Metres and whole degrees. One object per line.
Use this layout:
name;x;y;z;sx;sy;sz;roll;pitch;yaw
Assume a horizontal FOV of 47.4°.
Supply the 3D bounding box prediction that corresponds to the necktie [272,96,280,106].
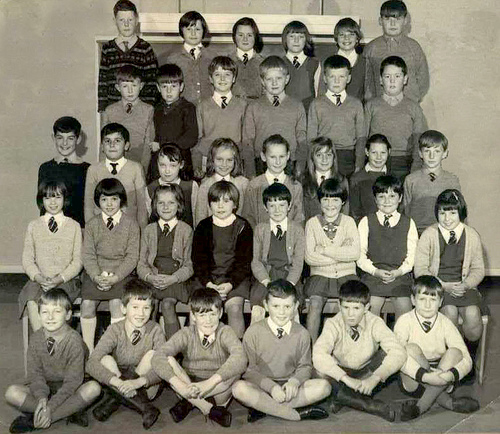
necktie;0.209;-0.952;4.701;0.057;0.087;0.026;0;-2;0

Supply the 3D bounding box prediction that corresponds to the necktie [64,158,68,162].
necktie;-1.497;-0.460;4.635;0.029;0.030;0.007;1;-8;-17

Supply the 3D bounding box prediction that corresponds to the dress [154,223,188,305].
dress;-0.559;0.319;4.004;0.225;0.489;0.339;0;7;-11

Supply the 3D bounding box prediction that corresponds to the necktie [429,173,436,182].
necktie;1.403;-0.300;4.392;0.059;0.066;0.018;-5;-4;13

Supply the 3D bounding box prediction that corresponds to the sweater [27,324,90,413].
sweater;-1.163;0.925;3.491;0.326;0.421;0.433;0;18;-4

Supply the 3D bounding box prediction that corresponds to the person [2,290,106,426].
person;-1.197;0.837;3.417;0.504;0.731;0.464;-2;7;-26

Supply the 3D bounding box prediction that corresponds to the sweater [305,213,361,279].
sweater;0.608;0.217;4.115;0.410;0.470;0.280;-4;15;26

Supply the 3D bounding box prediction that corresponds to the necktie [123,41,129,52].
necktie;-1.142;-1.551;5.198;0.054;0.073;0.016;-2;-4;-1

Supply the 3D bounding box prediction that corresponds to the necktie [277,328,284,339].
necktie;0.183;0.723;3.524;0.041;0.055;0.014;-1;-8;6

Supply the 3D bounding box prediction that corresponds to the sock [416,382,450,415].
sock;1.090;1.088;3.483;0.213;0.201;0.108;0;7;-10

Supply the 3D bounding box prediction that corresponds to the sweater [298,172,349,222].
sweater;0.543;-0.143;4.245;0.375;0.472;0.203;-1;8;-2

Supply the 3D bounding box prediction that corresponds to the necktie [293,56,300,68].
necktie;0.397;-1.344;4.971;0.064;0.097;0.026;-1;4;2

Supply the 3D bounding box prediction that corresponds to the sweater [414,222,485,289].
sweater;1.469;0.280;4.118;0.294;0.471;0.498;-6;5;-40

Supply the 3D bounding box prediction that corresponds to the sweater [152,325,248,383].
sweater;-0.287;0.889;3.510;0.584;0.352;0.455;1;20;2

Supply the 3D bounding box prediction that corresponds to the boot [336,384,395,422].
boot;0.634;1.127;3.547;0.140;0.151;0.486;-39;-26;31

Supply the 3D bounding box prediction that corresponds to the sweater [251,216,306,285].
sweater;0.202;0.255;4.114;0.378;0.458;0.287;4;20;4

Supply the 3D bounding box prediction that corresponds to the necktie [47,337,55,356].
necktie;-1.220;0.794;3.501;0.069;0.093;0.024;0;-2;4

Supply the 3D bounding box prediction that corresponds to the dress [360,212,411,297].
dress;0.966;0.267;4.035;0.337;0.543;0.311;2;7;12

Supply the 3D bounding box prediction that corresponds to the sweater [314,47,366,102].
sweater;0.769;-1.183;4.833;0.572;0.489;0.189;1;7;-5

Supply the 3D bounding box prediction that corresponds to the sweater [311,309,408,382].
sweater;0.664;0.806;3.608;0.515;0.321;0.479;-6;19;2

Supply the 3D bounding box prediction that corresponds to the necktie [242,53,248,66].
necktie;-0.046;-1.396;5.075;0.079;0.104;0.024;2;0;1

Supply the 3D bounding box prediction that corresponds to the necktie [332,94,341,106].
necktie;0.709;-0.956;4.688;0.105;0.104;0.015;0;1;6

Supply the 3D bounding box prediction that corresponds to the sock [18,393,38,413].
sock;-1.291;1.077;3.315;0.086;0.090;0.108;0;-3;-7

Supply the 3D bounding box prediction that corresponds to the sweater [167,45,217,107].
sweater;-0.506;-1.203;4.973;0.589;0.666;0.361;-2;8;-11

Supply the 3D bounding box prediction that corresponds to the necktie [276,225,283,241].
necktie;0.203;0.116;4.058;0.028;0.108;0.031;7;-5;28

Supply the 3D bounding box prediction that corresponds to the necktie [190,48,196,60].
necktie;-0.519;-1.454;5.115;0.076;0.099;0.024;0;5;-4

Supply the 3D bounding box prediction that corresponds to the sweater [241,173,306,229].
sweater;0.168;-0.106;4.227;0.430;0.386;0.150;0;5;0

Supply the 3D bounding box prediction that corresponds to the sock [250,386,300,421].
sock;0.195;1.171;3.436;0.115;0.131;0.462;-12;-45;38

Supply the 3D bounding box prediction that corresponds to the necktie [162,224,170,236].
necktie;-0.606;0.088;4.098;0.041;0.065;0.018;3;-3;12

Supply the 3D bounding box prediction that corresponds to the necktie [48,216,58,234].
necktie;-1.435;0.058;4.140;0.071;0.107;0.025;1;-6;-15

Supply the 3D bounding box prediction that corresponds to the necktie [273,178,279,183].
necktie;0.195;-0.280;4.321;0.041;0.021;0.029;1;6;2

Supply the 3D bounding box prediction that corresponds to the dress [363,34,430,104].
dress;1.298;-1.327;5.080;0.585;0.588;0.332;2;7;8

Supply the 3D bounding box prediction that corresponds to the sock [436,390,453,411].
sock;1.200;1.130;3.518;0.066;0.047;0.116;-20;21;-18

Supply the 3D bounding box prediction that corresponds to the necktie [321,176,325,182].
necktie;0.556;-0.295;4.361;0.034;0.031;0.019;1;4;3

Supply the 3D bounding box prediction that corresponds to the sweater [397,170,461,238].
sweater;1.329;-0.085;4.223;0.477;0.621;0.215;3;11;6

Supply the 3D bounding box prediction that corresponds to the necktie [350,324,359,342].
necktie;0.666;0.737;3.628;0.033;0.107;0.028;0;-2;8

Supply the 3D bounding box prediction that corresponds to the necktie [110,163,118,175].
necktie;-1.076;-0.375;4.438;0.045;0.077;0.021;0;1;-7

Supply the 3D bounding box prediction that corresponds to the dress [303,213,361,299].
dress;0.569;0.281;4.039;0.340;0.587;0.309;3;7;21

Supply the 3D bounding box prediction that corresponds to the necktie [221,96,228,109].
necktie;-0.224;-0.949;4.751;0.087;0.080;0.023;5;-3;-3

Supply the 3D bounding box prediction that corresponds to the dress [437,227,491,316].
dress;1.468;0.382;3.927;0.359;0.587;0.230;3;7;16

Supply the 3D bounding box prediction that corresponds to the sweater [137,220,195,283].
sweater;-0.608;0.236;4.106;0.439;0.413;0.254;4;12;2

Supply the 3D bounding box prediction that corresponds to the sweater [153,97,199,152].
sweater;-0.635;-0.758;4.856;0.512;0.487;0.257;-1;4;40

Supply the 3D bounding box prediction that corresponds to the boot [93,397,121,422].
boot;-0.868;1.148;3.449;0.087;0.062;0.153;33;42;6

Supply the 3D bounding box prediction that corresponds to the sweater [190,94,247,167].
sweater;-0.251;-0.700;4.677;0.606;0.622;0.330;-1;13;-6

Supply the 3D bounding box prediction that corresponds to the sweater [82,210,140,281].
sweater;-0.994;0.212;4.075;0.406;0.450;0.294;-1;7;-15

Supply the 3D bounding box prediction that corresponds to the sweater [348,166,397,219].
sweater;0.924;-0.166;4.321;0.407;0.380;0.153;-3;4;-6

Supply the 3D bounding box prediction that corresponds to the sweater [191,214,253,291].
sweater;-0.198;0.250;4.002;0.435;0.477;0.260;1;6;-2

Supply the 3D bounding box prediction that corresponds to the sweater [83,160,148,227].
sweater;-1.060;-0.157;4.503;0.476;0.599;0.206;-2;15;-12

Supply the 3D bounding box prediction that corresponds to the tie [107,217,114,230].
tie;-1.009;0.047;4.117;0.044;0.089;0.024;2;7;12

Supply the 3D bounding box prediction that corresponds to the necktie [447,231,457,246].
necktie;1.413;0.158;3.988;0.059;0.089;0.023;1;3;1

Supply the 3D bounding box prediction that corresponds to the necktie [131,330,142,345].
necktie;-0.717;0.748;3.547;0.059;0.077;0.020;2;-5;-3
